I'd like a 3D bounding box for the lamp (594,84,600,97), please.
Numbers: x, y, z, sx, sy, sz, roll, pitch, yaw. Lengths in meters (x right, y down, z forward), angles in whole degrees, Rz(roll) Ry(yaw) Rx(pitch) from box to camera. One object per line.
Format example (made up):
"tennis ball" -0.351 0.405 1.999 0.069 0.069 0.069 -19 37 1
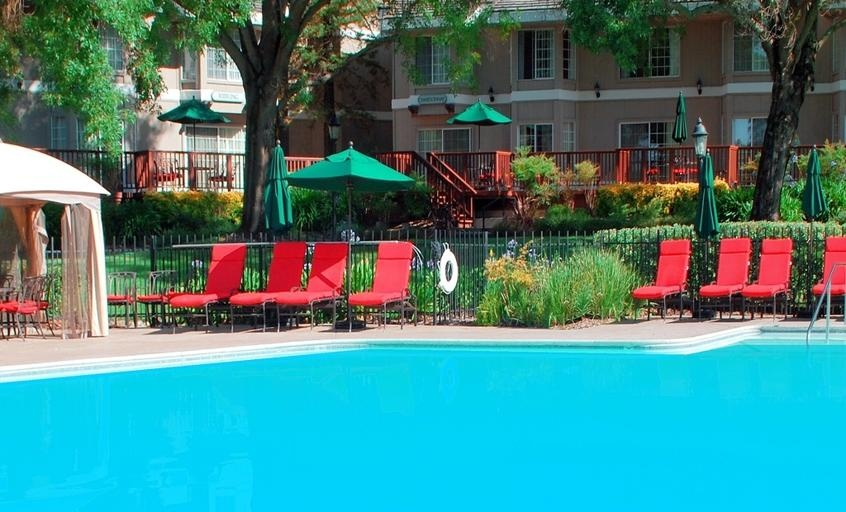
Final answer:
"lamp" 6.905 -6.590 50.477 0.227 0.555 0.233 -1 4 -1

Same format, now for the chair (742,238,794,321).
"chair" 9.068 0.585 33.280 1.465 2.033 1.276 -1 4 3

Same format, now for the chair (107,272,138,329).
"chair" -8.238 1.137 34.069 1.119 1.560 1.143 -1 0 -41

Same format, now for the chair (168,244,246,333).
"chair" -5.602 0.754 33.206 1.213 2.080 2.241 -1 3 26

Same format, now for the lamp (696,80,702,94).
"lamp" 10.741 -6.588 49.362 0.230 0.572 0.166 -1 4 2

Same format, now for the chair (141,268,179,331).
"chair" -7.163 1.114 33.844 0.816 1.447 0.907 -2 1 4

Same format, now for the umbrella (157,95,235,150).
"umbrella" -8.684 -4.714 47.642 2.533 2.502 2.720 2 2 4

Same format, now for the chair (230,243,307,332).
"chair" -4.121 0.768 33.175 1.155 2.128 2.136 0 4 37

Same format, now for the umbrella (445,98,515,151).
"umbrella" 2.069 -5.114 47.574 1.919 1.887 1.884 -2 2 -33

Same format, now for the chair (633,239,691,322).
"chair" 6.449 0.599 33.643 0.973 2.022 2.169 2 5 37
